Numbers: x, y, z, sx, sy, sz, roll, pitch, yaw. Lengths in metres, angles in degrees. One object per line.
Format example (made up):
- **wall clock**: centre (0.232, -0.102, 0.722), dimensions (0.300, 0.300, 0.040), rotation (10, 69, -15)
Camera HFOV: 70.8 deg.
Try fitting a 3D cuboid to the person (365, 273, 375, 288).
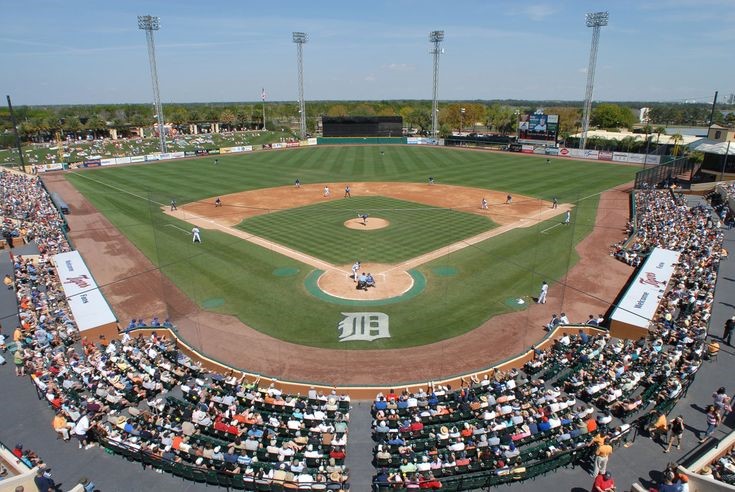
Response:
- **person**: centre (0.223, 3.102, 44.910), dimensions (0.743, 1.178, 1.025), rotation (-3, 19, 1)
